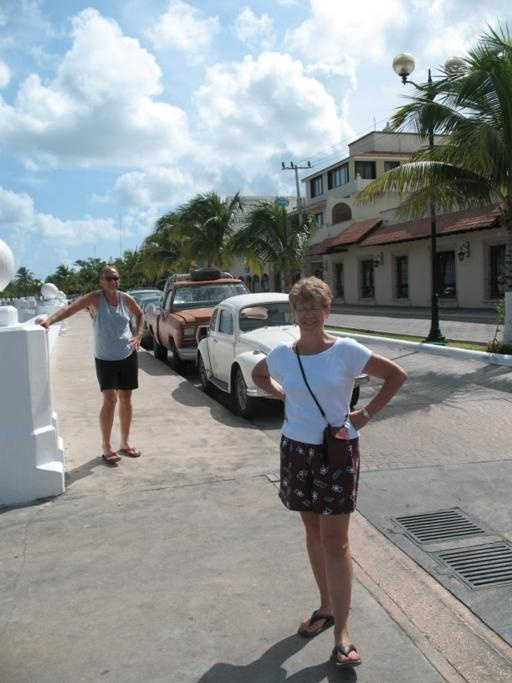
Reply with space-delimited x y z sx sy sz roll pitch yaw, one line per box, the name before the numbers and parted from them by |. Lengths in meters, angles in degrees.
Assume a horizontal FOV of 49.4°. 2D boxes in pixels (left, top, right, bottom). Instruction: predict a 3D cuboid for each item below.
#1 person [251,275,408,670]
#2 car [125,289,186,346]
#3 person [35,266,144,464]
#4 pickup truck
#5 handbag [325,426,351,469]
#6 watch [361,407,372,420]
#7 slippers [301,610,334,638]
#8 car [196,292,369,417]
person | 0.312 0.537 2.533 0.373 1.655 0.659 -4 7 -38
car | -3.124 -0.637 16.649 1.571 1.406 2.971 -4 5 -27
person | -1.491 0.200 5.413 0.765 1.869 1.408 -1 6 -12
pickup truck | -1.339 -0.711 12.559 1.498 1.479 3.061 -4 7 -18
handbag | 0.346 0.451 2.378 0.110 0.175 0.072 0 6 -1
watch | 0.476 0.311 2.396 0.020 0.050 0.043 -34 19 -3
slippers | 0.295 1.304 2.611 0.177 0.061 0.073 -1 1 -44
car | -0.040 0.054 8.522 1.490 1.117 2.509 -5 6 -22
